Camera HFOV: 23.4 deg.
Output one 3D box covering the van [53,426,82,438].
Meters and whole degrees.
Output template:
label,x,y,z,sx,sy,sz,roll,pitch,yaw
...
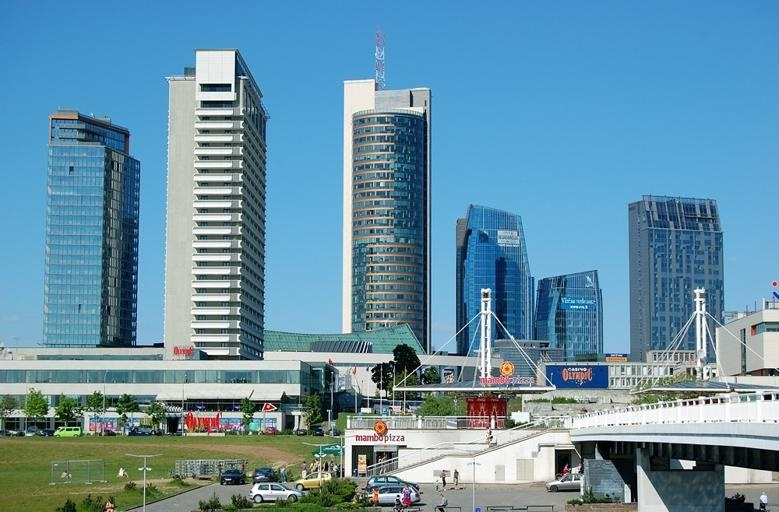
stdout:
label,x,y,z,sx,sy,sz,roll,pitch,yaw
van,-77.037,40.877,447.501,5.192,2.250,3.159,2,-8,-3
